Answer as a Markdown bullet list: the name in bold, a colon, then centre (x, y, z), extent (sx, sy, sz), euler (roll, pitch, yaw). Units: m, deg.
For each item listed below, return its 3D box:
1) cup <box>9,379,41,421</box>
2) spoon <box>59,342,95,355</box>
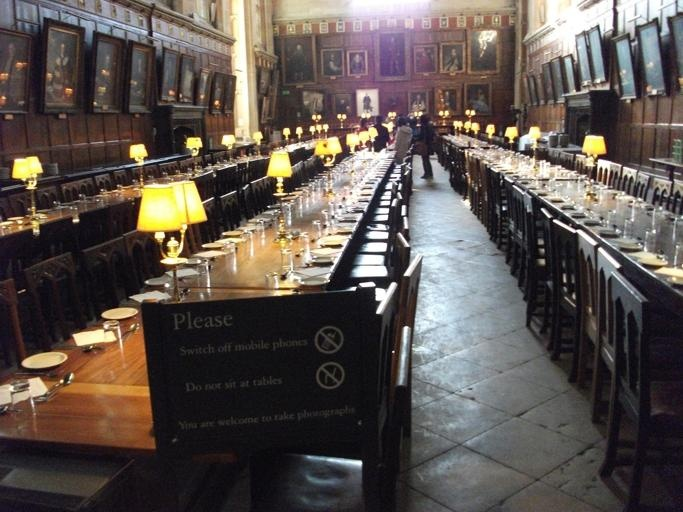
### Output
- **cup**: centre (-1.287, 0.610, 2.185), extent (0.117, 0.192, 0.115), euler (-2, 5, 0)
- **spoon**: centre (-1.309, 0.466, 2.599), extent (0.225, 0.033, 0.070), euler (-4, 53, 16)
